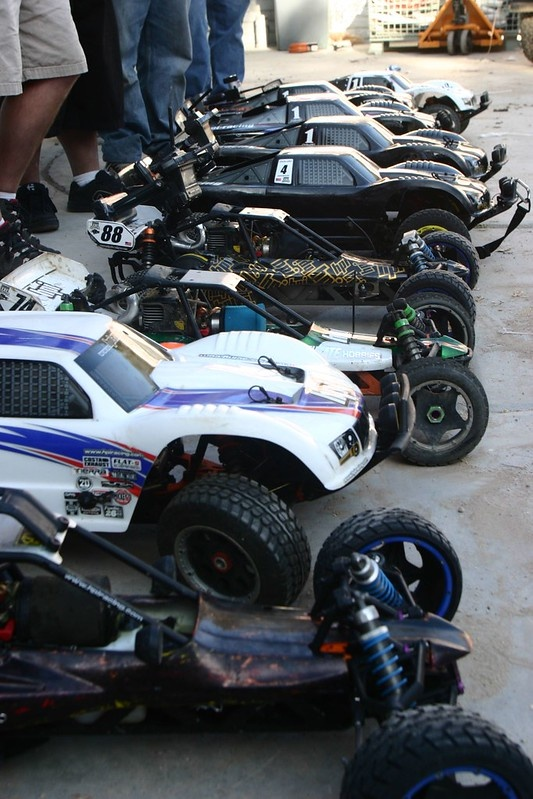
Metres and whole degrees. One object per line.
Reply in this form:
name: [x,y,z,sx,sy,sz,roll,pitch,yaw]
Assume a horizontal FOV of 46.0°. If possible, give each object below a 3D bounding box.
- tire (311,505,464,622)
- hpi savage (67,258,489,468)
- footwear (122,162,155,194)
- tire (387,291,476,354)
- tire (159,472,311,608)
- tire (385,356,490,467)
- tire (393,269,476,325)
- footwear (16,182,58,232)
tire: [0.466,0.630,2.371,0.445,0.439,0.186,-16,7,-4]
hpi savage: [0.059,-0.068,4.524,2.563,0.985,1.517,9,28,5]
footwear: [-1.243,-2.144,6.060,0.346,0.125,0.349,23,41,35]
tire: [1.182,-0.544,4.498,0.499,0.498,0.165,5,17,4]
tire: [-0.133,0.588,2.564,0.464,0.472,0.165,-30,17,34]
tire: [1.003,0.085,3.759,0.630,0.667,0.219,-5,20,9]
tire: [1.300,-0.787,4.860,0.640,0.640,0.253,2,7,8]
footwear: [-2.739,-2.250,7.468,0.550,0.485,1.221,-10,26,-14]
